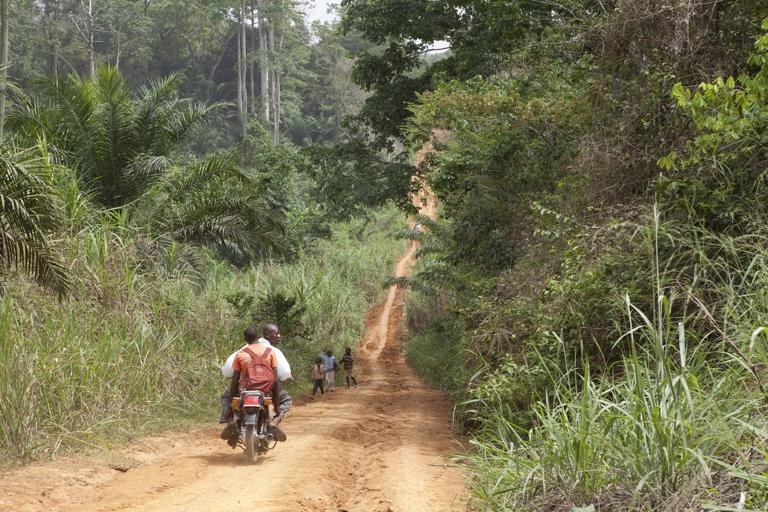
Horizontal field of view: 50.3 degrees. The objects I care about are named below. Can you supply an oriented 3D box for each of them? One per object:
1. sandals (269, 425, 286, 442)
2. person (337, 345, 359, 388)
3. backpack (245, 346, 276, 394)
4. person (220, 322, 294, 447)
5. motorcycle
[{"bbox_3d":[-1.703,2.850,13.258,0.193,0.328,0.067,-24,18,28],"label":"sandals"},{"bbox_3d":[-1.038,3.115,23.311,0.582,1.188,0.452,4,13,10],"label":"person"},{"bbox_3d":[-1.956,1.821,13.125,0.439,0.745,0.418,-3,2,-15],"label":"backpack"},{"bbox_3d":[-2.063,2.088,13.257,1.035,1.739,2.882,-4,5,-7],"label":"person"},{"bbox_3d":[-2.078,2.670,13.023,0.748,1.163,0.635,2,3,-12],"label":"motorcycle"}]
